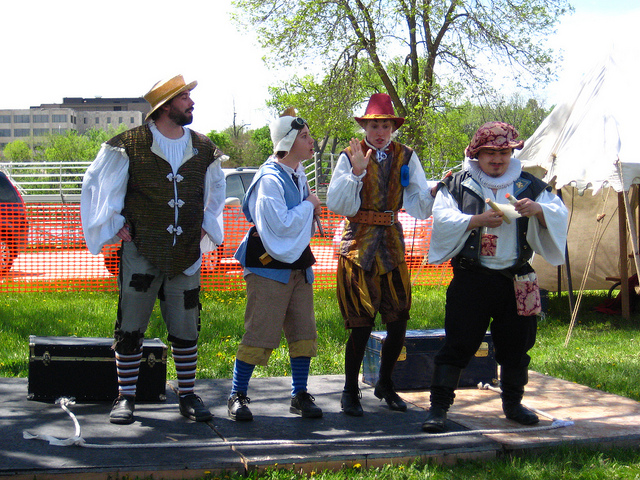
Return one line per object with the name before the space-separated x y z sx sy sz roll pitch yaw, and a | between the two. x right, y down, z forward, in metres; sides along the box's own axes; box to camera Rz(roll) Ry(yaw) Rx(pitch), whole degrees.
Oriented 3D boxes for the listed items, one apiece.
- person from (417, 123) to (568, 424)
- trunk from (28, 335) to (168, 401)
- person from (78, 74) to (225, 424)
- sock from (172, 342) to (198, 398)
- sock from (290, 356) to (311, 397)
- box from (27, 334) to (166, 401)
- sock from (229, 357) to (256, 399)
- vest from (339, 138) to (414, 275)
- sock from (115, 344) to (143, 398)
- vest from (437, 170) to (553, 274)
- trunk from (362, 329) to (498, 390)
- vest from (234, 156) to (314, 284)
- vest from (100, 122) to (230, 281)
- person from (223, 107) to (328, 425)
person | 1.412 0.259 6.948 1.056 2.348 0.496 1 9 -7
trunk | -1.914 1.222 7.439 1.187 0.474 0.710 4 -25 -11
person | -1.361 0.055 6.897 1.135 2.721 0.673 1 9 -7
sock | -1.126 1.051 7.031 0.191 0.445 0.128 0 9 -11
sock | -0.179 1.124 7.170 0.172 0.364 0.124 5 10 18
box | -1.883 1.087 7.534 1.219 0.494 0.828 1 1 0
sock | -0.656 1.123 7.109 0.184 0.333 0.161 1 9 -6
vest | 0.460 -0.282 7.221 0.595 1.093 0.432 2 9 2
sock | -1.576 1.075 6.987 0.176 0.507 0.165 0 -38 -9
vest | 1.368 -0.149 6.953 0.870 0.800 0.415 3 9 7
trunk | 0.956 1.092 7.845 0.968 0.405 0.695 0 3 -8
vest | -0.381 -0.152 7.123 0.677 1.050 0.506 2 9 -2
vest | -1.282 -0.303 6.934 0.868 1.213 0.402 1 9 -7
person | -0.342 0.184 7.066 0.884 2.499 0.739 1 9 -6
